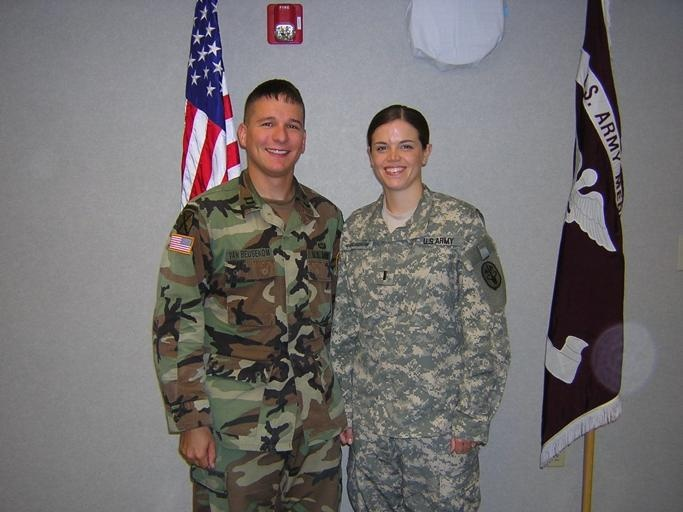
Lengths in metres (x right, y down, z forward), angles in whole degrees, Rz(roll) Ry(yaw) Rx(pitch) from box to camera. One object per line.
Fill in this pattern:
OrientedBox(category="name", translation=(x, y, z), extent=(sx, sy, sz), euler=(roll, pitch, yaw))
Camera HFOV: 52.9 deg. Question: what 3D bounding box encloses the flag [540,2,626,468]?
OrientedBox(category="flag", translation=(1.191, -0.109, 3.423), extent=(0.393, 2.326, 0.212), euler=(0, 2, 22))
